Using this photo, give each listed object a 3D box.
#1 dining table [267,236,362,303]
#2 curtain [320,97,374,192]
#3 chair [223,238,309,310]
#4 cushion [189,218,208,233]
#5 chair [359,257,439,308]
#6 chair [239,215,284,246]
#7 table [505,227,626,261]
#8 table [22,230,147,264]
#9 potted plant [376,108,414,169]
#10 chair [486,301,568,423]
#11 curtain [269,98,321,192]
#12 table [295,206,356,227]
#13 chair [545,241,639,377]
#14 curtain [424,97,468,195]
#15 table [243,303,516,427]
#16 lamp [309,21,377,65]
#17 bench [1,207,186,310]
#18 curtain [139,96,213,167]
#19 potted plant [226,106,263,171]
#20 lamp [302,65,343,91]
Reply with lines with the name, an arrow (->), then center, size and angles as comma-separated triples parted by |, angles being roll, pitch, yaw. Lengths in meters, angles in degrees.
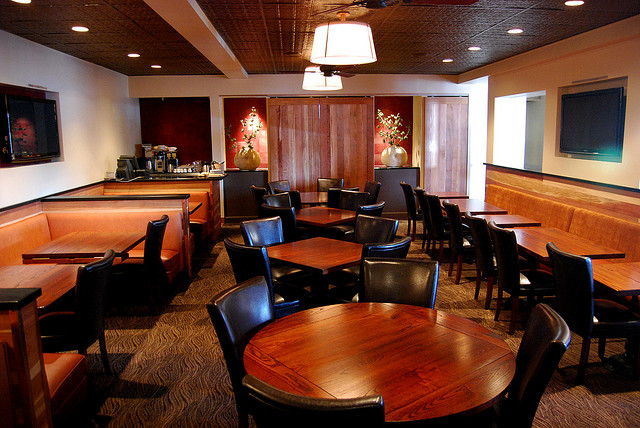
dining table -> 0.014, 0.429, 4.452 | 0.746, 0.656, 0.725 | -14, 19, -40
curtain -> 0.378, -1.609, 9.952 | 1.174, 2.023, 1.205 | 2, 9, 44
chair -> -0.468, 0.561, 4.086 | 0.604, 0.919, 0.546 | -9, 14, -31
cushion -> -2.126, 0.212, 7.564 | 0.243, 0.155, 0.329 | 0, 4, -5
chair -> 0.679, 0.532, 3.776 | 0.472, 0.525, 0.452 | 3, 2, 8
chair -> -0.719, 0.179, 4.937 | 0.359, 0.454, 0.370 | -10, 4, -43
table -> 2.776, 0.346, 4.897 | 0.983, 0.035, 1.064 | -10, 23, -41
table -> -2.583, 0.418, 5.015 | 1.068, 0.231, 1.112 | -2, 12, -9
potted plant -> 1.746, -1.803, 10.259 | 0.886, 1.394, 1.424 | 1, 11, 9
chair -> 1.365, 1.013, 2.801 | 0.507, 0.748, 0.375 | -11, 15, -41
curtain -> -0.540, -1.479, 9.430 | 1.095, 1.979, 0.226 | -2, 12, -4
table -> 0.084, 0.059, 6.315 | 0.859, 0.122, 1.109 | -1, 10, -3
chair -> 2.441, 0.881, 3.932 | 0.698, 1.201, 0.397 | -2, 12, -4
curtain -> 2.858, -1.580, 9.926 | 0.977, 2.061, 0.352 | 0, 12, 5
table -> 0.395, 0.943, 2.874 | 1.646, 0.250, 1.069 | 2, 11, 17
lamp -> 0.197, -1.482, 3.970 | 0.488, 0.284, 0.467 | -7, 11, -37
bench -> -3.040, 0.642, 5.490 | 1.153, 0.621, 1.427 | 1, 7, 1
curtain -> -3.493, -2.116, 10.101 | 1.390, 1.497, 0.143 | -3, 57, -22
potted plant -> -1.726, -1.753, 10.051 | 0.880, 1.457, 1.232 | -3, 12, -11
lamp -> 0.012, -2.073, 6.639 | 0.538, 0.318, 1.119 | 0, 10, 7
